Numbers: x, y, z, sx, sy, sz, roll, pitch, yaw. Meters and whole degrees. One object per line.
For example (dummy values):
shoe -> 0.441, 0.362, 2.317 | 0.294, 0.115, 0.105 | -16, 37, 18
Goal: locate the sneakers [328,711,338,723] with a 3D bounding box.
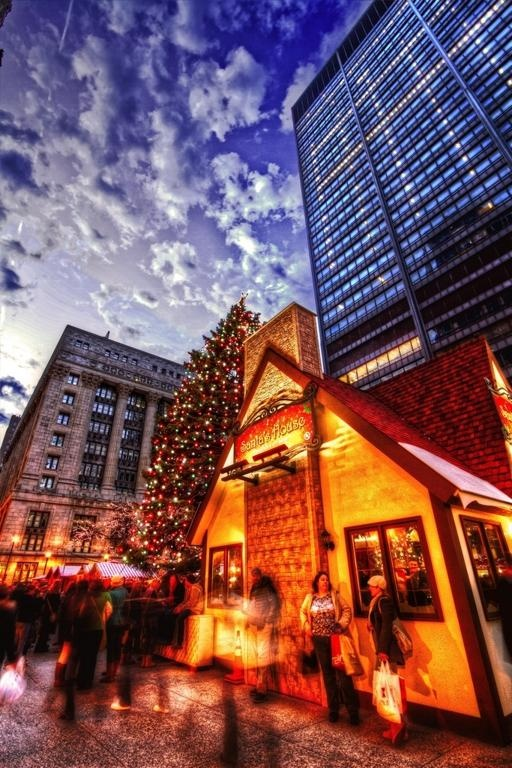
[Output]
sneakers -> 1.091, 4.728, 7.971 | 0.076, 0.140, 0.197 | 5, -55, -3

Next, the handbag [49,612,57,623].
handbag -> -4.818, 5.487, 13.209 | 0.139, 0.178, 0.220 | -6, -41, -1

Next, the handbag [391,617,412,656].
handbag -> 1.995, 3.420, 7.655 | 0.195, 0.449, 0.449 | -12, -35, 23

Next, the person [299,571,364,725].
person -> 1.102, 3.834, 8.242 | 0.876, 2.060, 0.430 | -11, -26, 22

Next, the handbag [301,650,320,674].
handbag -> 0.835, 4.301, 8.694 | 0.229, 0.595, 0.300 | 0, -11, -13

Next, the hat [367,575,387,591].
hat -> 1.714, 2.807, 8.025 | 0.169, 0.182, 0.236 | 21, -19, -34

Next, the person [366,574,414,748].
person -> 1.837, 3.880, 7.708 | 0.483, 1.583, 0.770 | -8, -57, 15

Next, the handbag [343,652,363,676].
handbag -> 1.382, 3.967, 7.948 | 0.330, 0.267, 0.161 | 22, -35, -27

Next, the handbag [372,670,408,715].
handbag -> 1.748, 4.019, 7.325 | 0.394, 0.559, 0.243 | -25, -59, 17
